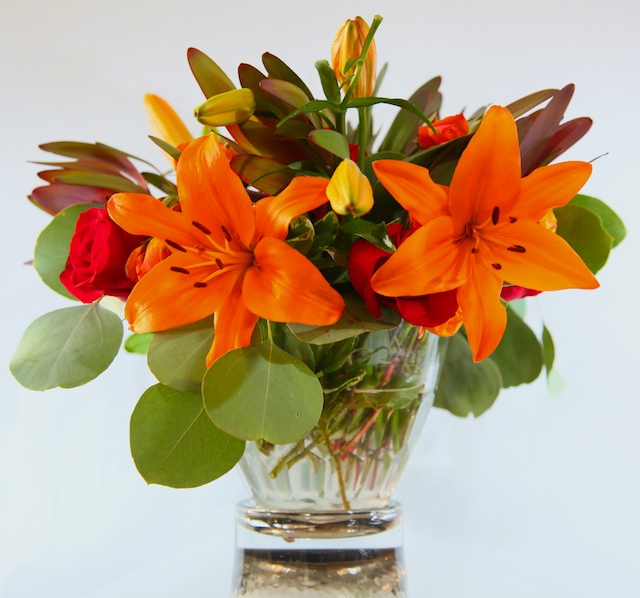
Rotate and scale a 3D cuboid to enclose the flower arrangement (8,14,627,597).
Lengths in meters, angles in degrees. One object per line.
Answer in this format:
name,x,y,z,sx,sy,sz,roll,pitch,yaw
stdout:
flower arrangement,0.033,0.001,0.823,0.569,0.587,0.532,0,0,-6
